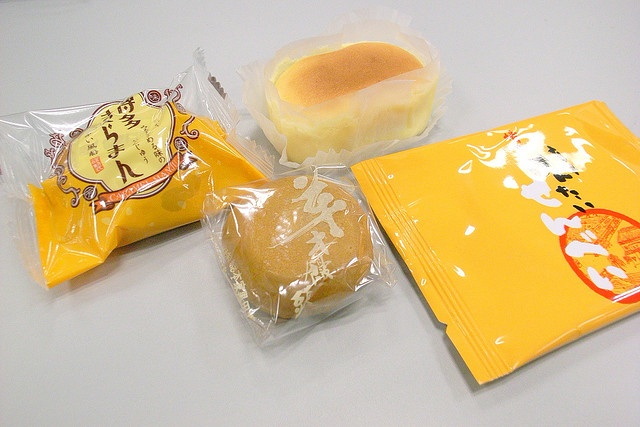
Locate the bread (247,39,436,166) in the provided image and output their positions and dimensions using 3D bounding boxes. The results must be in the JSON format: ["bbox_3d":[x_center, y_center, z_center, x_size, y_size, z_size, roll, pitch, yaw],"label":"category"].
[{"bbox_3d":[0.072,-0.306,1.377,0.388,0.304,0.148,-14,-33,-3],"label":"bread"}]
